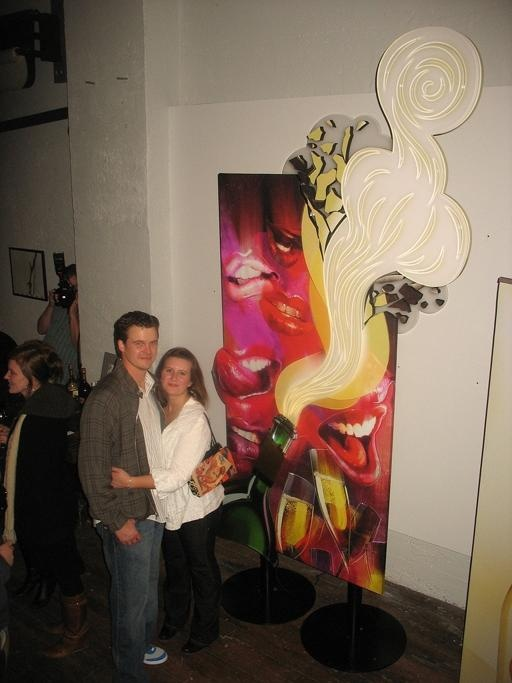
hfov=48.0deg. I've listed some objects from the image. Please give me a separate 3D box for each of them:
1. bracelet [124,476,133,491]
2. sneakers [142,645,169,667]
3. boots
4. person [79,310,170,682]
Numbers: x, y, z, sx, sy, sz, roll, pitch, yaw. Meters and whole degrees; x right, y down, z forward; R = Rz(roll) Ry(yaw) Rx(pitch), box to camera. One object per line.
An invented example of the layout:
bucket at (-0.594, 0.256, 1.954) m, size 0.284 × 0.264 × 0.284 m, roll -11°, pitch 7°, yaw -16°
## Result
bracelet at (-0.498, 0.561, 2.270) m, size 0.031 × 0.052 × 0.046 m, roll 0°, pitch 17°, yaw -11°
sneakers at (-0.458, 1.440, 2.625) m, size 0.152 × 0.066 × 0.084 m, roll 1°, pitch 9°, yaw -2°
boots at (-0.857, 1.340, 2.693) m, size 0.240 × 0.334 × 0.261 m, roll 4°, pitch 2°, yaw -11°
person at (-0.532, 0.645, 2.401) m, size 0.327 × 1.501 × 0.408 m, roll -4°, pitch 9°, yaw -10°
